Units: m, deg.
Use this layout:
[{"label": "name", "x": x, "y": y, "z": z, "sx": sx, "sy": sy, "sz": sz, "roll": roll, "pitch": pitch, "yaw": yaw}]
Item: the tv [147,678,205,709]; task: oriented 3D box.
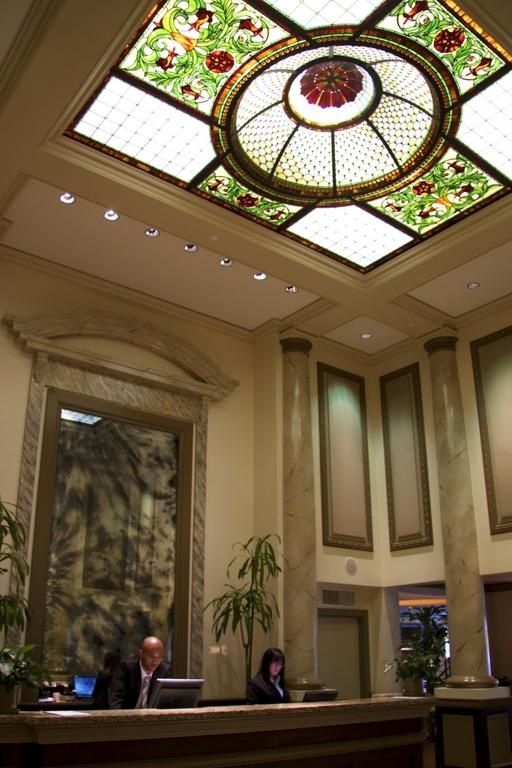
[{"label": "tv", "x": -0.493, "y": 1.958, "z": 3.400, "sx": 0.289, "sy": 0.200, "sz": 0.351, "roll": 2, "pitch": -19, "yaw": -4}]

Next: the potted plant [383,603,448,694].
[{"label": "potted plant", "x": 2.409, "y": 3.799, "z": 7.669, "sx": 0.694, "sy": 1.123, "sz": 0.698, "roll": -4, "pitch": -16, "yaw": 9}]
